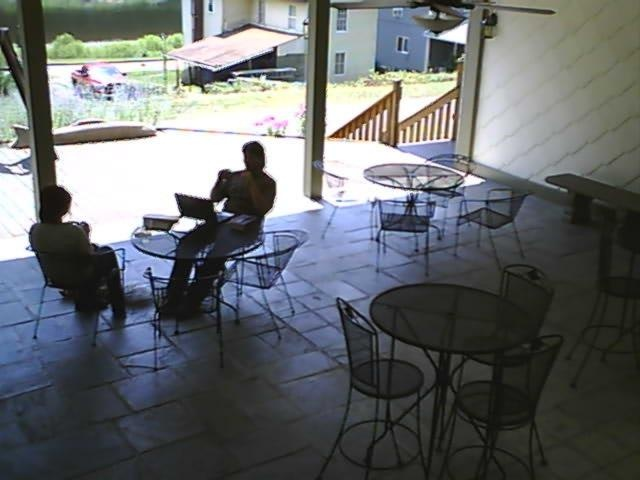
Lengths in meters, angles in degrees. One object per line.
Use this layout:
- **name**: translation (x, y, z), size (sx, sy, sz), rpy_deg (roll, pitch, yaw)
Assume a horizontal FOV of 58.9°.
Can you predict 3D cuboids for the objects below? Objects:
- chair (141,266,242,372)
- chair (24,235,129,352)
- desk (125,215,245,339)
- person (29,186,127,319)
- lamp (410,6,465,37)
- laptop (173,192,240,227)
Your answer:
- **chair**: translation (-1.193, 0.637, 5.454), size (1.236, 1.125, 0.824), rpy_deg (0, 40, -10)
- **chair**: translation (-2.330, 0.554, 5.414), size (0.755, 0.921, 0.703), rpy_deg (13, 36, 1)
- **desk**: translation (-1.110, 0.256, 5.337), size (1.169, 0.766, 1.127), rpy_deg (-15, 4, -25)
- **person**: translation (-2.234, 0.208, 5.248), size (0.709, 1.407, 0.570), rpy_deg (-11, 29, -24)
- **lamp**: translation (1.085, -1.975, 5.121), size (0.342, 0.171, 0.336), rpy_deg (5, 31, 4)
- **laptop**: translation (-1.183, -0.308, 5.570), size (0.420, 0.372, 0.244), rpy_deg (18, 41, 17)
